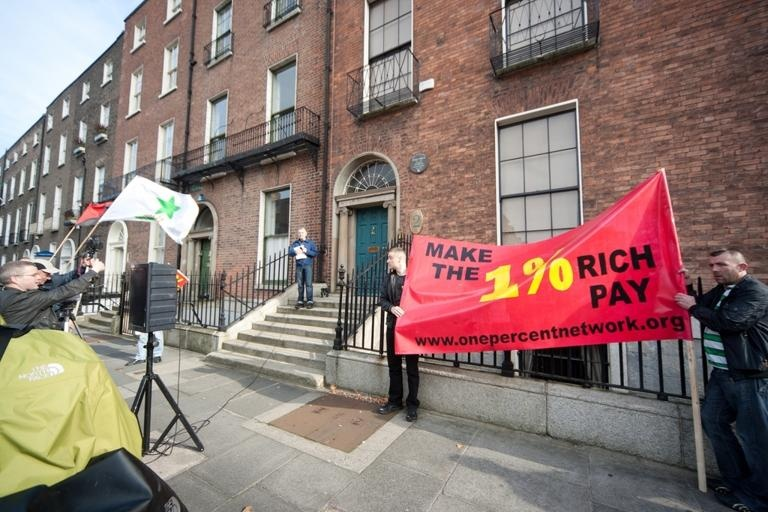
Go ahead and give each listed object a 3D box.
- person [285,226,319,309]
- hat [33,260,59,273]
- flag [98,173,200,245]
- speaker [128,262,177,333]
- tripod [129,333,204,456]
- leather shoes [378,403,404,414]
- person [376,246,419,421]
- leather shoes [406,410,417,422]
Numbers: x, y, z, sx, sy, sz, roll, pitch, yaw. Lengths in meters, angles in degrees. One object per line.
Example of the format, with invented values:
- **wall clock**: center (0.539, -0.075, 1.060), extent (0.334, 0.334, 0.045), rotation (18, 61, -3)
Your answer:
- **person**: center (-2.010, 0.290, 12.122), extent (0.619, 1.962, 0.827), rotation (0, -6, -11)
- **hat**: center (-7.070, 0.200, 10.208), extent (0.552, 0.198, 0.347), rotation (15, -1, -30)
- **flag**: center (-4.144, -0.856, 8.828), extent (1.475, 0.649, 1.498), rotation (-36, -19, 17)
- **speaker**: center (-3.599, 0.645, 7.602), extent (0.668, 1.062, 0.419), rotation (1, -6, -19)
- **tripod**: center (-3.401, 2.130, 7.734), extent (1.018, 1.825, 0.868), rotation (1, -6, -16)
- **leather shoes**: center (0.109, 2.640, 8.503), extent (0.432, 0.190, 0.169), rotation (6, -10, -21)
- **person**: center (0.237, 1.311, 8.475), extent (0.719, 2.987, 0.682), rotation (-3, -6, 16)
- **leather shoes**: center (0.476, 2.698, 8.236), extent (0.196, 0.173, 0.112), rotation (0, -6, -9)
